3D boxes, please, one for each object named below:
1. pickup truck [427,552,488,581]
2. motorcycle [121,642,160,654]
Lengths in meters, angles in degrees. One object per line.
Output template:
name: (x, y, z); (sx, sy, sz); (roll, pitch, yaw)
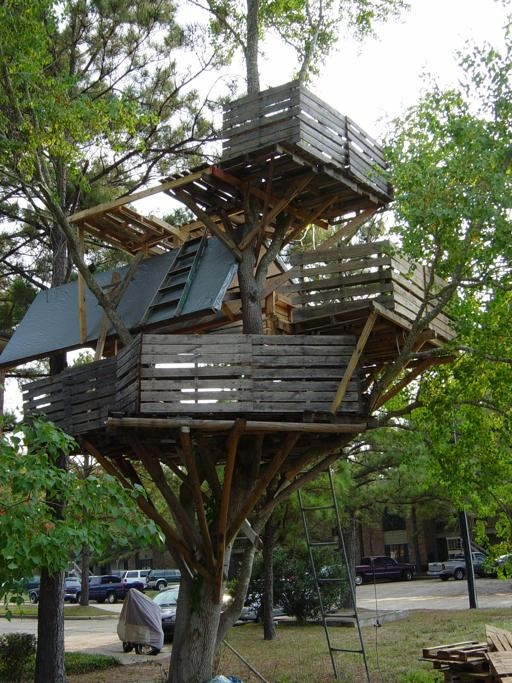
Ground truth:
pickup truck: (10.627, 12.131, 38.659); (2.722, 1.693, 7.964); (-4, -14, 11)
motorcycle: (-2.747, 7.366, 17.200); (0.707, 0.203, 0.546); (4, -5, 2)
